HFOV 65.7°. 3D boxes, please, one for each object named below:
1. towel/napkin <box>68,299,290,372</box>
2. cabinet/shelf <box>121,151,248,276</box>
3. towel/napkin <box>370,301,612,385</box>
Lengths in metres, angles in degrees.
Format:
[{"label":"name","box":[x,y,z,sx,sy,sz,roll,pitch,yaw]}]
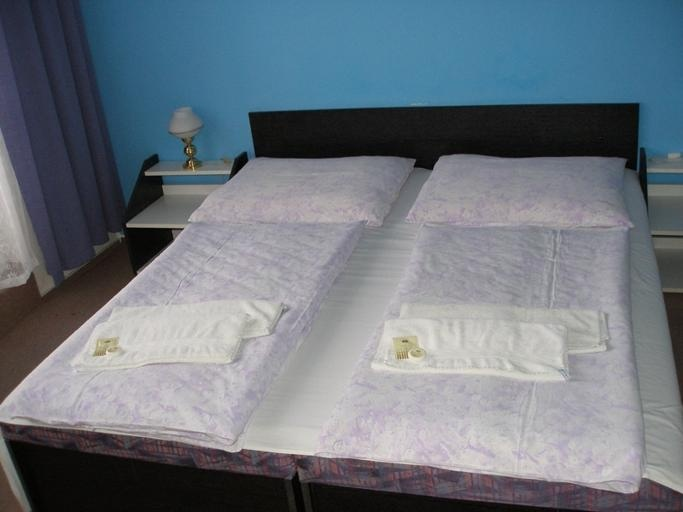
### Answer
[{"label":"towel/napkin","box":[-0.648,0.306,2.000,0.415,0.061,0.416,1,17,7]},{"label":"cabinet/shelf","box":[-1.044,-0.296,3.765,0.781,0.698,0.521,2,28,13]},{"label":"towel/napkin","box":[0.516,0.297,1.840,0.573,0.083,0.345,4,28,12]}]
